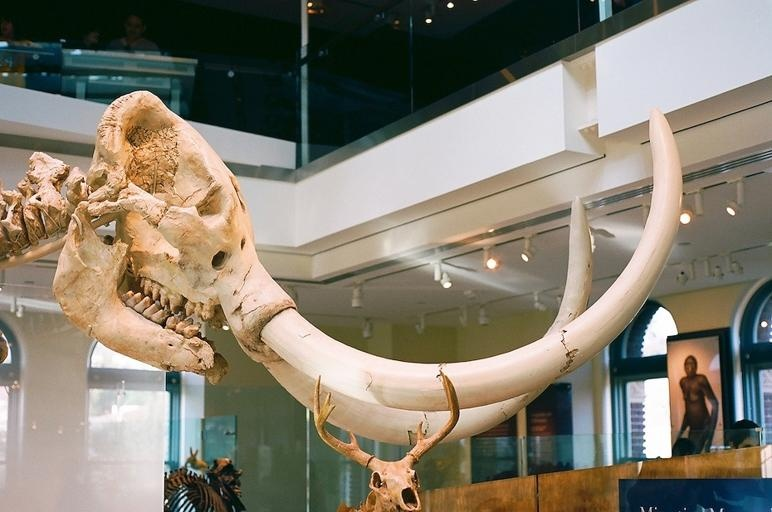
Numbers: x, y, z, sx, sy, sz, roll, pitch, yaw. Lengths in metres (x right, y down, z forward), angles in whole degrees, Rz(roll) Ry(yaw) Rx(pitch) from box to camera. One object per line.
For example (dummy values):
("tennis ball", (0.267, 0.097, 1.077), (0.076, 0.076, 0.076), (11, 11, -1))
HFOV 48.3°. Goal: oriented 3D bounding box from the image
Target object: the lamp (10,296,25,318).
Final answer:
("lamp", (-2.593, 0.362, 6.094), (0.100, 0.154, 0.027), (-7, -13, 16))
